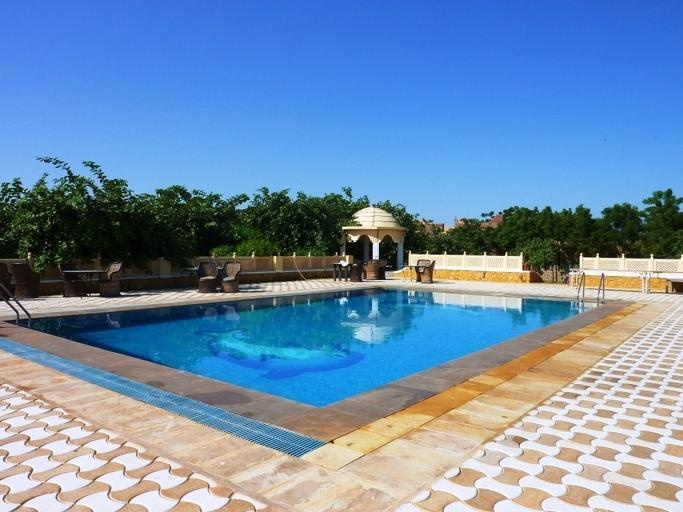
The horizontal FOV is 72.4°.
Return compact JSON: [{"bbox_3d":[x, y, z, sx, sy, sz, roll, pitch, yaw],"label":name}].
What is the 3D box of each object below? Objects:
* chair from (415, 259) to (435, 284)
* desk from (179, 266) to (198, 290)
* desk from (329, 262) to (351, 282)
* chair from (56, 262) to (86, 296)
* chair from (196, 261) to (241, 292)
[{"bbox_3d":[3.711,0.787,21.420,1.129,0.976,1.095,-1,-4,22],"label":"chair"},{"bbox_3d":[-5.729,0.879,17.669,1.151,0.828,0.948,-1,1,-21],"label":"desk"},{"bbox_3d":[0.097,0.780,21.130,0.965,0.726,0.900,1,4,27],"label":"desk"},{"bbox_3d":[-7.652,0.745,13.312,0.563,0.903,1.424,-4,6,-36],"label":"chair"},{"bbox_3d":[-4.037,0.772,15.459,1.891,0.962,0.988,0,-1,-16],"label":"chair"}]
